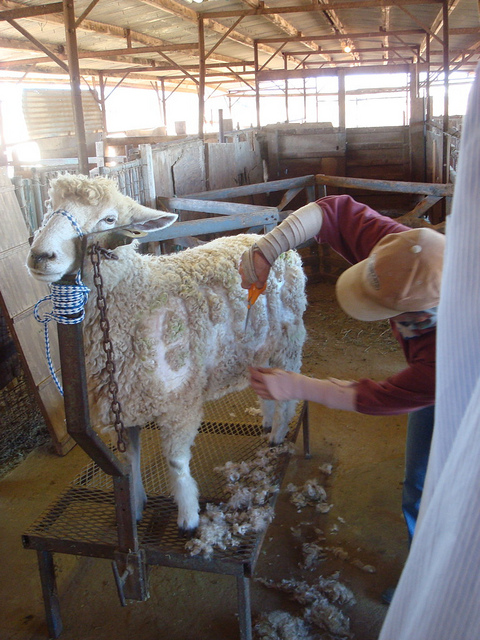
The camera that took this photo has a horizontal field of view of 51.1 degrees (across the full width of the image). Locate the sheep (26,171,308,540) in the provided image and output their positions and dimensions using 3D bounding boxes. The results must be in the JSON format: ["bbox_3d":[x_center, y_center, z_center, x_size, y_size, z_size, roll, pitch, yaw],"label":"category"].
[{"bbox_3d":[-0.306,0.141,2.362,0.552,1.540,1.359,7,11,38],"label":"sheep"}]

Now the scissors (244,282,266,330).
[{"bbox_3d":[0.052,-0.069,2.196,0.065,0.226,0.026,15,-4,23],"label":"scissors"}]

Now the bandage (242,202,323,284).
[{"bbox_3d":[0.175,-0.314,2.079,0.330,0.332,0.130,-1,9,-1],"label":"bandage"}]
